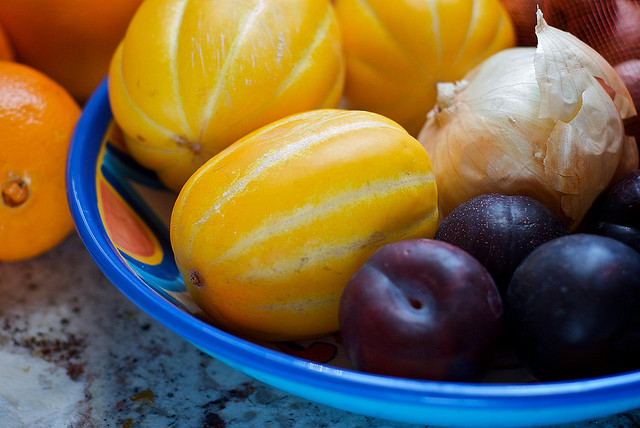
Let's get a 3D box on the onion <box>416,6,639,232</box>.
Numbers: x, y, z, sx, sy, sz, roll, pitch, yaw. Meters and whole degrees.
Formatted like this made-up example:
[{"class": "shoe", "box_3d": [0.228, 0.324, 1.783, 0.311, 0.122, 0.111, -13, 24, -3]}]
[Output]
[{"class": "onion", "box_3d": [0.343, -0.104, 1.221, 0.328, 0.239, 0.359, 44, 101, 14]}]
